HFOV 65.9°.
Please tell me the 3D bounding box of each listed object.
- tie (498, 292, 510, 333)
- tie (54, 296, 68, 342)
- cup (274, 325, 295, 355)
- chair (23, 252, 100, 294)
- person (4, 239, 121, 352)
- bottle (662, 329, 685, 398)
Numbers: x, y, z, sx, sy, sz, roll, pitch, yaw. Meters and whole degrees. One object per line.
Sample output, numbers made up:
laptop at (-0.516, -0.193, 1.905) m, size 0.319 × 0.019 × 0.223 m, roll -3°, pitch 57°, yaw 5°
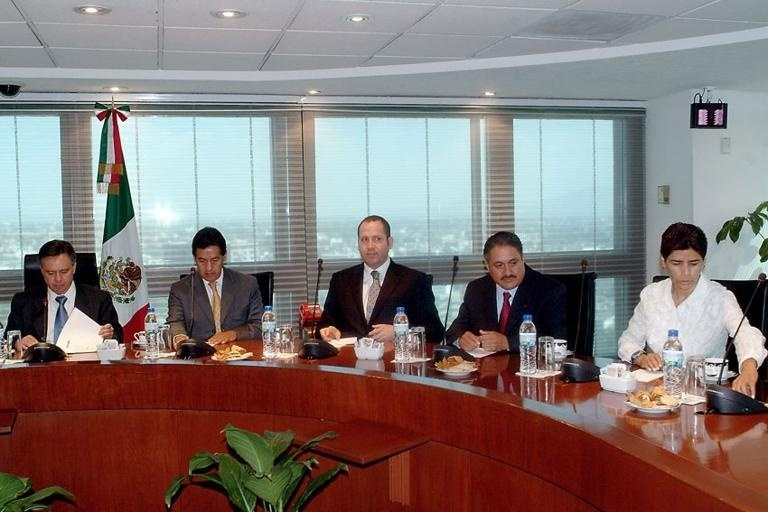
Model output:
tie at (0.781, 0.366, 3.848) m, size 0.063 × 0.262 × 0.046 m, roll 1°, pitch -17°, yaw 19°
tie at (-2.183, 0.431, 3.998) m, size 0.059 × 0.299 × 0.052 m, roll 6°, pitch -23°, yaw -12°
cup at (-0.596, 0.516, 3.704) m, size 0.158 × 0.228 × 0.167 m, roll -2°, pitch 0°, yaw 0°
chair at (-2.499, 0.130, 4.608) m, size 0.369 × 0.454 × 0.400 m, roll 3°, pitch -10°, yaw -28°
person at (-2.332, 0.301, 4.332) m, size 0.809 × 0.969 × 0.567 m, roll -2°, pitch -8°, yaw -21°
bottle at (1.344, 0.489, 2.746) m, size 0.091 × 0.287 × 0.285 m, roll 1°, pitch 7°, yaw 26°
